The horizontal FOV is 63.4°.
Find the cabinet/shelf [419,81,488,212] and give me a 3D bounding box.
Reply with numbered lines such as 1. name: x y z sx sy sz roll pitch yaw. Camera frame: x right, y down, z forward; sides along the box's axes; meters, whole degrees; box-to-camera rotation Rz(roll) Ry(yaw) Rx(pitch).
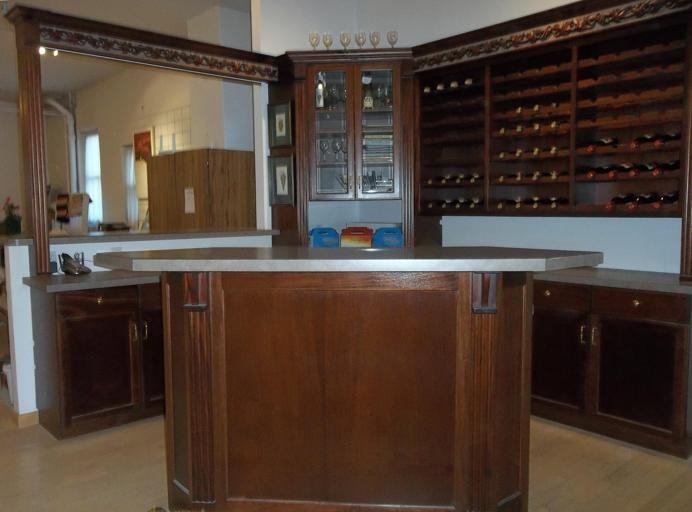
1. cabinet/shelf: 1.054 -1.059 5.329 0.749 1.294 0.387 11 16 44

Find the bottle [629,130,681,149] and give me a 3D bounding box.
1. bottle: 2.284 -0.873 4.151 0.309 0.103 0.279 6 15 29

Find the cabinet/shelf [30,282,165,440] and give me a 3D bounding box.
1. cabinet/shelf: -1.752 0.726 4.547 0.558 1.175 1.169 1 3 44

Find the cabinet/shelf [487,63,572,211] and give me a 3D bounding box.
1. cabinet/shelf: 1.586 -0.998 4.789 0.734 1.206 0.483 7 14 32

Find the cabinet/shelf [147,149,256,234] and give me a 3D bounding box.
1. cabinet/shelf: -1.766 -0.593 6.514 0.496 0.907 0.917 0 -19 15

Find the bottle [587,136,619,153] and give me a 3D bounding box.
1. bottle: 1.999 -0.872 4.335 0.247 0.100 0.141 -2 5 -18

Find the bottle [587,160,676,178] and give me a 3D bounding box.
1. bottle: 2.149 -0.682 4.297 0.678 0.134 0.353 7 15 30

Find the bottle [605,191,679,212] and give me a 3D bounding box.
1. bottle: 2.220 -0.435 4.211 0.453 0.139 0.309 7 15 30

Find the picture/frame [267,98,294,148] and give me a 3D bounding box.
1. picture/frame: -0.604 -1.332 5.531 0.463 0.596 0.039 4 5 44

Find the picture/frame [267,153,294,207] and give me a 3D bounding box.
1. picture/frame: -0.601 -0.769 5.567 0.291 0.478 0.043 3 9 24
